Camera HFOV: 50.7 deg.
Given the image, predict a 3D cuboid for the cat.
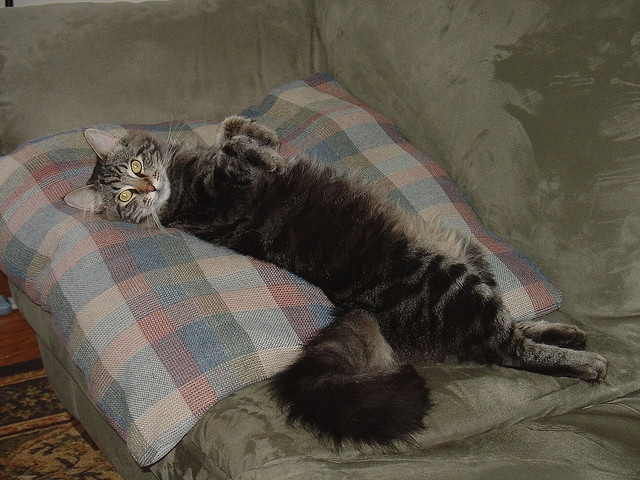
[{"bbox_3d":[0.001,0.078,1.745,1.169,0.271,0.761,27,37,16],"label":"cat"}]
